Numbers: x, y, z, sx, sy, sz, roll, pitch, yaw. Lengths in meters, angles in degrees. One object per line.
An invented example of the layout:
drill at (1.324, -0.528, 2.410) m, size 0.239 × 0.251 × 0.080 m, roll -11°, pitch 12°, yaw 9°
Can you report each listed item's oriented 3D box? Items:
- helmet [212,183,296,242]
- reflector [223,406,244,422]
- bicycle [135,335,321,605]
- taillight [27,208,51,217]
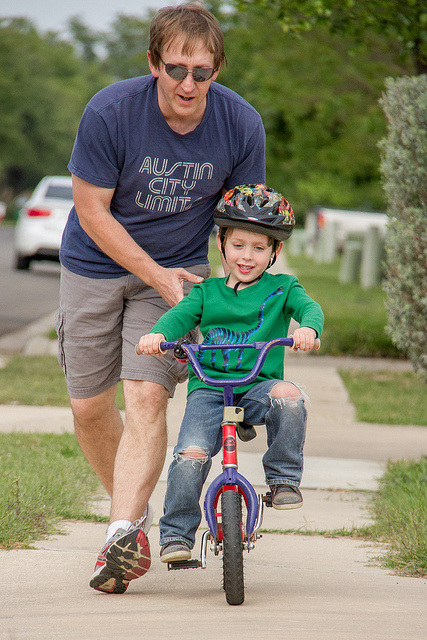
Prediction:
helmet at (0.149, -0.403, 3.352) m, size 0.291 × 0.194 × 0.244 m, roll 1°, pitch 0°, yaw 0°
reflector at (0.066, 0.308, 3.036) m, size 0.089 × 0.056 × 0.047 m, roll 4°, pitch -4°, yaw -22°
bicycle at (0.043, 0.481, 3.119) m, size 0.427 × 0.785 × 0.465 m, roll 1°, pitch 0°, yaw -40°
taillight at (-2.906, -1.792, 15.204) m, size 0.516 × 0.116 × 0.094 m, roll 1°, pitch 0°, yaw 41°
